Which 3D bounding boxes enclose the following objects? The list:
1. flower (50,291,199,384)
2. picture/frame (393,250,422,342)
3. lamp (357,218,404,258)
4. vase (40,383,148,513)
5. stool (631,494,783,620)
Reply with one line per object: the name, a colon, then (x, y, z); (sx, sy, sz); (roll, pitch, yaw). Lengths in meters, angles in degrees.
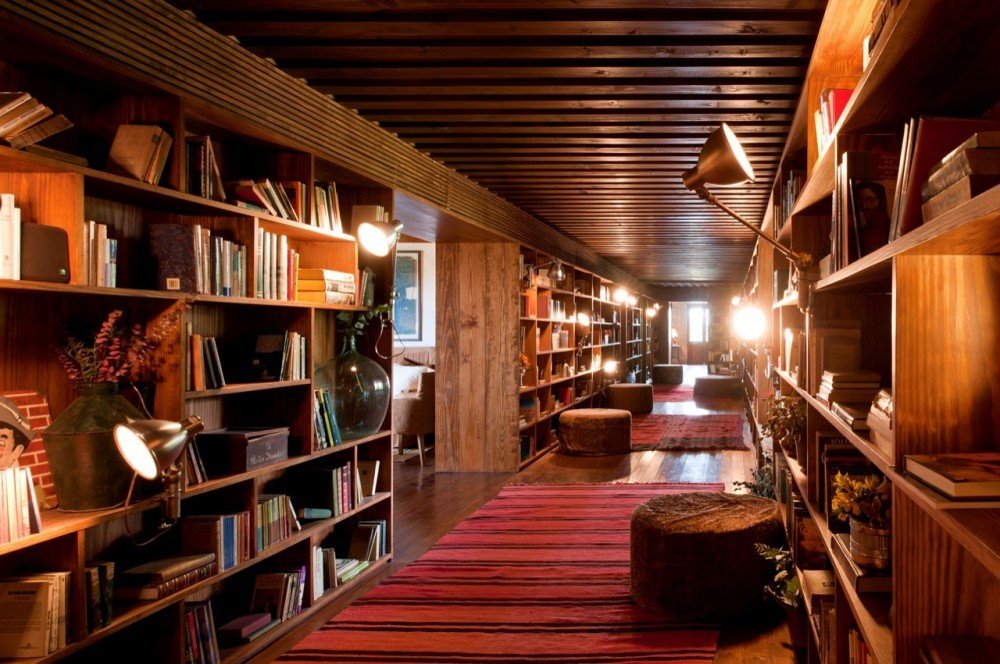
flower: (-1.682, 0.021, 2.992); (0.446, 0.298, 0.454); (-1, -1, -22)
picture/frame: (-1.297, -0.511, 9.538); (0.418, 1.281, 0.190); (-1, 2, 12)
lamp: (-0.780, -0.621, 4.484); (0.314, 0.219, 0.232); (-24, 12, -30)
vase: (-1.564, 0.486, 3.003); (0.495, 0.525, 0.480); (0, -6, 1)
stool: (1.238, 1.267, 3.972); (0.683, 0.380, 0.689); (-1, 1, 41)
